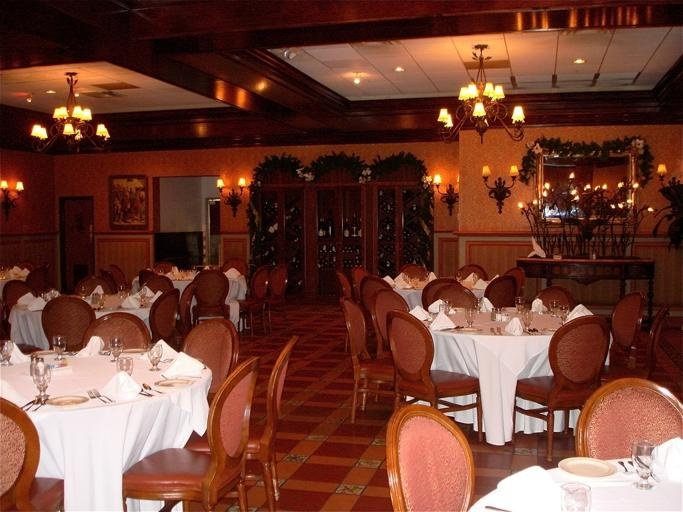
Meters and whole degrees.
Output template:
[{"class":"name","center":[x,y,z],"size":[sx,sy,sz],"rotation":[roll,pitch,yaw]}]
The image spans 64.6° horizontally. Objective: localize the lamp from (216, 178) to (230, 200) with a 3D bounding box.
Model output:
[{"class":"lamp","center":[-2.974,-1.709,13.516],"size":[0.338,0.492,0.316],"rotation":[3,6,36]}]

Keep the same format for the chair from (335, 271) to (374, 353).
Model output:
[{"class":"chair","center":[0.132,0.709,7.286],"size":[0.595,0.957,0.557],"rotation":[-6,35,-20]}]

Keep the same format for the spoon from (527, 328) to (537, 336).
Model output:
[{"class":"spoon","center":[1.723,0.689,4.918],"size":[0.047,0.031,0.080],"rotation":[2,6,24]}]

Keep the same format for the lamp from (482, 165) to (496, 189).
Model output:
[{"class":"lamp","center":[2.978,-1.636,11.150],"size":[0.230,0.487,0.420],"rotation":[1,5,14]}]

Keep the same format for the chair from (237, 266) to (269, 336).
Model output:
[{"class":"chair","center":[-1.642,0.766,9.752],"size":[0.658,1.181,0.645],"rotation":[4,3,23]}]

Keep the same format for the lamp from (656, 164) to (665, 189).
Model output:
[{"class":"lamp","center":[6.158,-1.562,10.514],"size":[0.162,0.475,0.569],"rotation":[2,5,30]}]

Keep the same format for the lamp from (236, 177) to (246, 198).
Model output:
[{"class":"lamp","center":[-2.443,-1.704,13.412],"size":[0.282,0.472,0.211],"rotation":[0,5,2]}]

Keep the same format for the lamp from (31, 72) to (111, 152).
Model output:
[{"class":"lamp","center":[-4.531,-2.488,9.148],"size":[1.021,1.010,1.028],"rotation":[9,18,8]}]

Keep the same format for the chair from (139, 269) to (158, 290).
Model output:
[{"class":"chair","center":[-2.954,0.368,8.399],"size":[0.253,0.382,0.271],"rotation":[4,17,7]}]

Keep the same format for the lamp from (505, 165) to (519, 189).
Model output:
[{"class":"lamp","center":[3.433,-1.614,10.964],"size":[0.260,0.476,0.579],"rotation":[1,4,16]}]

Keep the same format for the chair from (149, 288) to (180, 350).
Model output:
[{"class":"chair","center":[-2.106,0.774,6.525],"size":[0.269,0.740,0.390],"rotation":[4,6,43]}]

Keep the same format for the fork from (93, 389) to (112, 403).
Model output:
[{"class":"fork","center":[-1.421,0.848,3.264],"size":[0.056,0.030,0.210],"rotation":[-22,21,-40]}]

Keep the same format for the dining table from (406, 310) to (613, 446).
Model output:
[{"class":"dining table","center":[1.442,1.058,5.266],"size":[1.024,0.866,1.105],"rotation":[2,8,15]}]

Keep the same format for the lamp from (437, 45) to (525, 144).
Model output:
[{"class":"lamp","center":[2.084,-2.510,8.170],"size":[1.315,1.508,1.132],"rotation":[0,6,23]}]

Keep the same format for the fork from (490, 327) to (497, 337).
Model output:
[{"class":"fork","center":[1.382,0.698,4.966],"size":[0.048,0.049,0.088],"rotation":[4,-2,3]}]

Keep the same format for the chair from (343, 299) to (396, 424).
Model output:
[{"class":"chair","center":[0.378,1.050,5.560],"size":[0.695,1.120,0.655],"rotation":[1,-1,-6]}]

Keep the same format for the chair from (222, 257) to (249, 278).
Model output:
[{"class":"chair","center":[-2.138,0.243,11.261],"size":[0.459,0.619,0.506],"rotation":[0,-2,-7]}]

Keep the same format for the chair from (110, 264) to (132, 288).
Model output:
[{"class":"chair","center":[-4.474,0.410,11.179],"size":[0.438,0.619,0.469],"rotation":[0,6,-5]}]

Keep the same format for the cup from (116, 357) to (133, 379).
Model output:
[{"class":"cup","center":[-1.353,0.704,3.443],"size":[0.113,0.131,0.112],"rotation":[0,3,0]}]

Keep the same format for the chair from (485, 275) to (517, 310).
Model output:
[{"class":"chair","center":[2.125,0.504,7.262],"size":[0.337,0.511,0.342],"rotation":[-2,17,-6]}]

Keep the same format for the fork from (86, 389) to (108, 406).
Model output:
[{"class":"fork","center":[-1.447,0.849,3.263],"size":[0.066,0.053,0.377],"rotation":[-5,5,-35]}]

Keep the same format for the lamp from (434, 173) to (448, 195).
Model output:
[{"class":"lamp","center":[2.254,-1.633,12.318],"size":[0.341,0.474,0.339],"rotation":[0,5,11]}]

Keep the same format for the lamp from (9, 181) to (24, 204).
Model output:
[{"class":"lamp","center":[-8.000,-1.540,13.456],"size":[0.318,0.639,0.322],"rotation":[-3,5,-29]}]
